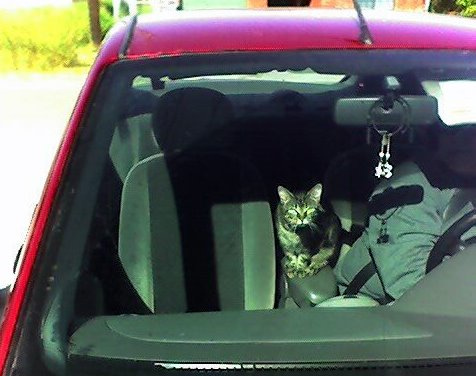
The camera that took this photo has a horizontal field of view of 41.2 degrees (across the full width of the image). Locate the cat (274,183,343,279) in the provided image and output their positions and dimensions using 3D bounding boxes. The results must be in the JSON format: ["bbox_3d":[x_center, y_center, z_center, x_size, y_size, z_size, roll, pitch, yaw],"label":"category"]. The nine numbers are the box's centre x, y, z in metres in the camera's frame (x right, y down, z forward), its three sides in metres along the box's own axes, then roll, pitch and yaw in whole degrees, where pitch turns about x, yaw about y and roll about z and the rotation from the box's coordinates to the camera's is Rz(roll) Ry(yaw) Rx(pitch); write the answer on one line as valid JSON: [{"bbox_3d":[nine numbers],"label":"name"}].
[{"bbox_3d":[0.316,0.178,2.852,0.179,0.289,0.545,0,20,5],"label":"cat"}]
